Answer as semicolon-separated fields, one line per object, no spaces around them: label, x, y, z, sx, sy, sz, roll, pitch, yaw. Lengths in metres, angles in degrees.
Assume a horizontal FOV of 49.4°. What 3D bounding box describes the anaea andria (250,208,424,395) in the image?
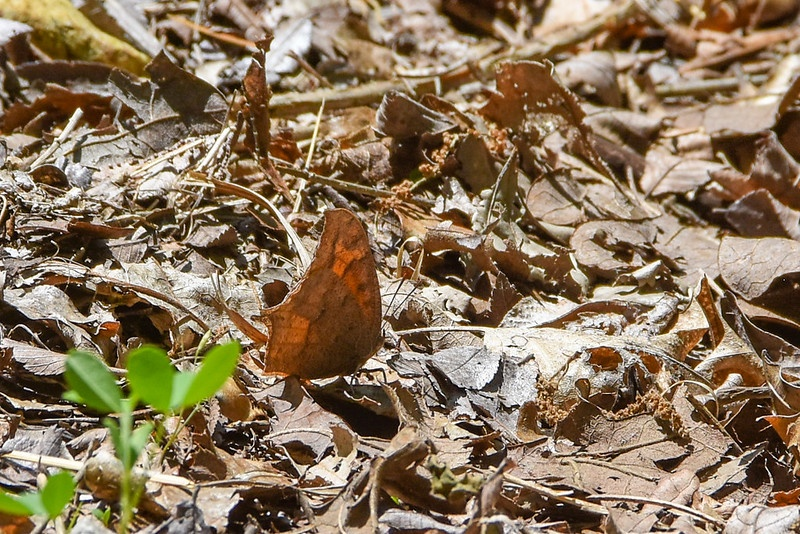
anaea andria;-0.228;0.137;3.015;0.478;0.739;0.500;-12;89;0
